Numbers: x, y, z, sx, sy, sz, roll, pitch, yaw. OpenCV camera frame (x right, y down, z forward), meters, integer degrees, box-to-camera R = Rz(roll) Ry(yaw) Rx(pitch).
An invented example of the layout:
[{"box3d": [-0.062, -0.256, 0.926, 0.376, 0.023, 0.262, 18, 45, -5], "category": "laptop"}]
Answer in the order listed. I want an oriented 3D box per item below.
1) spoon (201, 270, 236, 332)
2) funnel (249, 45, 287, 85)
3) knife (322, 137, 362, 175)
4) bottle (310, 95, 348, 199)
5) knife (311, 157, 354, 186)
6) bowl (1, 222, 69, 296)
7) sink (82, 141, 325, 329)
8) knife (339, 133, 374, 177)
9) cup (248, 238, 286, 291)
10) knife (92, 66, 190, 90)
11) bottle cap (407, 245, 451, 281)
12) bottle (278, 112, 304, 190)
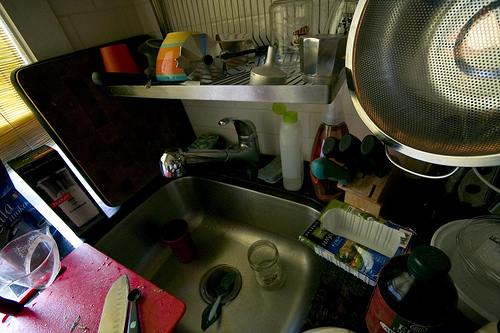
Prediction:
[{"box3d": [-0.092, 0.424, 1.097, 0.057, 0.038, 0.217, -3, 45, 30], "category": "spoon"}, {"box3d": [0.044, -0.264, 0.913, 0.102, 0.117, 0.104, 12, 21, -3], "category": "funnel"}, {"box3d": [0.271, -0.013, 0.975, 0.051, 0.155, 0.060, -28, 47, 25], "category": "knife"}, {"box3d": [0.252, -0.057, 1.047, 0.115, 0.312, 0.121, 6, 12, -1], "category": "bottle"}, {"box3d": [0.236, 0.013, 0.944, 0.135, 0.063, 0.064, 16, 31, 29], "category": "knife"}, {"box3d": [-0.642, 0.325, 1.056, 0.185, 0.150, 0.209, -8, 29, -25], "category": "bowl"}, {"box3d": [-0.068, 0.258, 1.158, 0.627, 0.206, 0.648, 21, 59, 32], "category": "sink"}, {"box3d": [0.295, -0.026, 0.913, 0.043, 0.153, 0.037, -49, 47, 1], "category": "knife"}, {"box3d": [0.059, 0.336, 1.104, 0.100, 0.149, 0.105, -9, 38, 7], "category": "cup"}, {"box3d": [-0.339, -0.271, 1.022, 0.201, 0.049, 0.125, -1, 23, 4], "category": "knife"}, {"box3d": [0.390, 0.211, 0.718, 0.072, 0.070, 0.075, 3, 48, 29], "category": "bottle cap"}, {"box3d": [0.137, -0.042, 1.082, 0.067, 0.264, 0.079, -2, 40, 8], "category": "bottle"}]
